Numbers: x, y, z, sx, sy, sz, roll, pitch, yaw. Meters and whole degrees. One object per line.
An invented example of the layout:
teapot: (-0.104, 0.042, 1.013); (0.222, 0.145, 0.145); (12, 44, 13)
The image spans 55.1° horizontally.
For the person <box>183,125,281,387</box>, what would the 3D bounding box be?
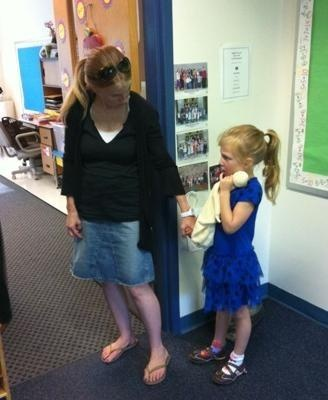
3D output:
person: (0.292, 0.239, 1.367); (0.304, 1.089, 0.290); (-4, 12, -24)

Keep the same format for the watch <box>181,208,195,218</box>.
watch: (0.097, 0.055, 1.290); (0.044, 0.027, 0.046); (-21, -2, 28)

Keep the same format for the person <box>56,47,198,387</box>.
person: (-0.135, 0.136, 1.270); (0.531, 1.383, 0.364); (-3, 10, -10)

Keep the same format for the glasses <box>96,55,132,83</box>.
glasses: (-0.156, -0.429, 1.027); (0.056, 0.089, 0.125); (8, 15, 43)

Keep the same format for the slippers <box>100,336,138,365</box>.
slippers: (-0.232, 0.750, 1.596); (0.075, 0.041, 0.146); (12, 18, 42)

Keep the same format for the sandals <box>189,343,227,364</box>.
sandals: (0.216, 0.745, 1.552); (0.163, 0.085, 0.073); (5, 20, -9)

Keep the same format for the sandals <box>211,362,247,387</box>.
sandals: (0.289, 0.740, 1.387); (0.136, 0.075, 0.069); (-2, 4, -36)
